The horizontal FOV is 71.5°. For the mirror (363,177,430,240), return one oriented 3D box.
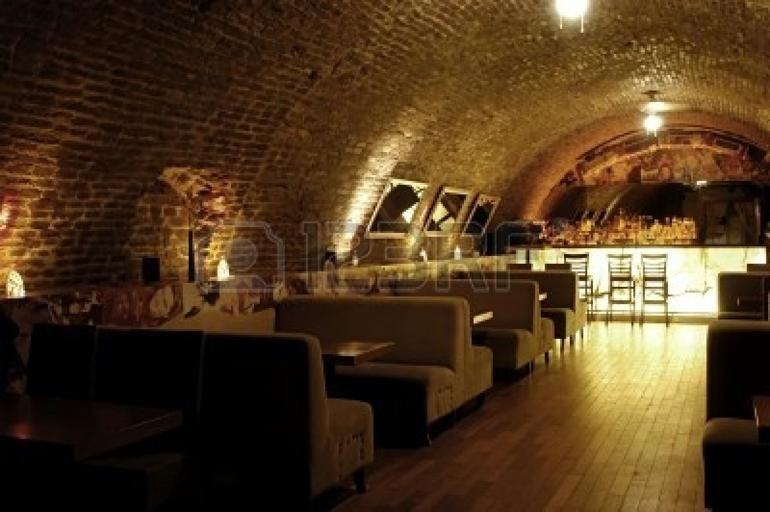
[{"bbox_3d":[0.180,-0.954,10.660,0.273,1.098,1.226,36,28,33],"label":"mirror"}]

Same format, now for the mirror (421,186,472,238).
[{"bbox_3d":[1.423,-0.978,12.180,0.265,1.005,1.121,28,14,27],"label":"mirror"}]

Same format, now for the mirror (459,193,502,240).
[{"bbox_3d":[2.245,-1.124,13.306,1.269,1.321,0.141,10,-34,25],"label":"mirror"}]
